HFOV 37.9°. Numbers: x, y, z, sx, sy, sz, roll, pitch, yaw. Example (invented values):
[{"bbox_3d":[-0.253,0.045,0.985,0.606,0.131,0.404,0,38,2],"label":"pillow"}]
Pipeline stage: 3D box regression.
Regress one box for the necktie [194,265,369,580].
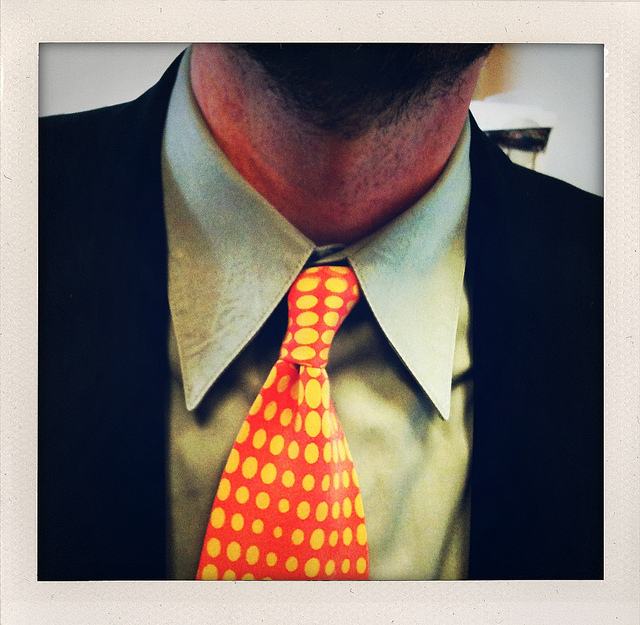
[{"bbox_3d":[-0.030,0.170,1.211,0.211,0.559,0.068,6,27,-3],"label":"necktie"}]
